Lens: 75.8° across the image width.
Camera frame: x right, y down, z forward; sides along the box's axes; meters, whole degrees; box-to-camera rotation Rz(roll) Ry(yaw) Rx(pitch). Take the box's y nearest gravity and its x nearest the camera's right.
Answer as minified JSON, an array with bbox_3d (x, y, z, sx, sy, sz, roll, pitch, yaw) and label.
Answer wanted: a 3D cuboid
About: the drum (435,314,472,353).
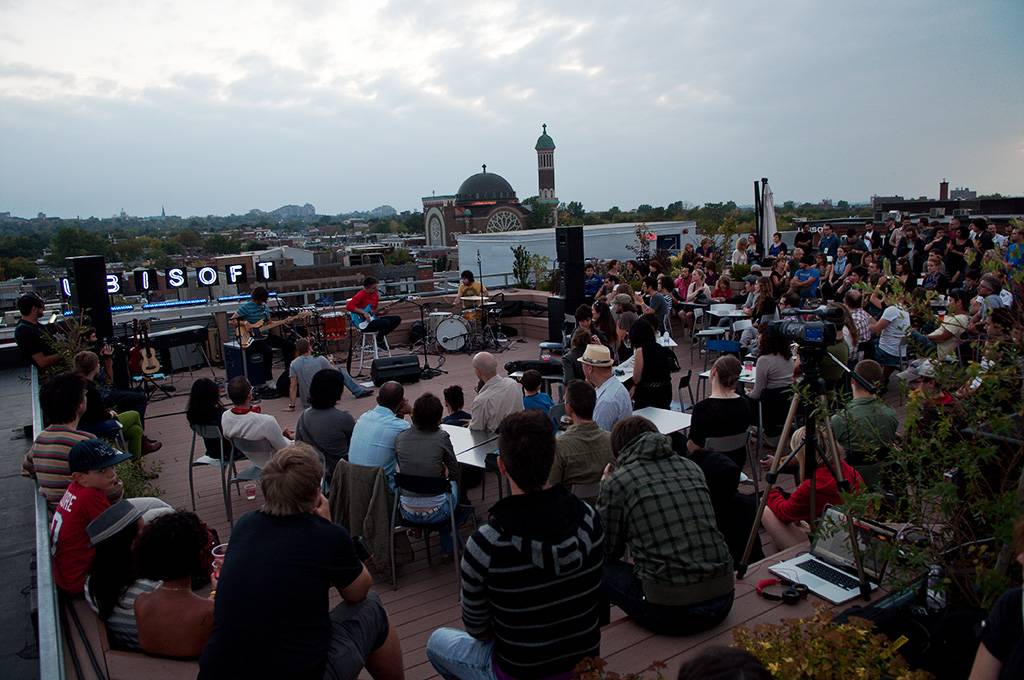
[{"bbox_3d":[-1.201,-0.146,13.543,0.642,0.633,0.247,16,12,-8],"label":"drum"}]

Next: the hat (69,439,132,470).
[{"bbox_3d":[-2.828,0.781,4.492,0.302,0.162,0.218,-1,11,-21],"label":"hat"}]

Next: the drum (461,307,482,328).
[{"bbox_3d":[-0.825,-0.472,13.938,0.422,0.415,0.438,-9,0,31],"label":"drum"}]

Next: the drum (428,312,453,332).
[{"bbox_3d":[-1.579,-0.409,13.962,0.476,0.435,0.479,0,4,10],"label":"drum"}]

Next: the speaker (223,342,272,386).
[{"bbox_3d":[-4.576,0.338,11.744,1.007,0.999,0.730,-2,1,-18],"label":"speaker"}]

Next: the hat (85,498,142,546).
[{"bbox_3d":[-2.508,1.130,4.112,0.286,0.108,0.252,-28,-3,-13],"label":"hat"}]

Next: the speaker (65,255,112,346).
[{"bbox_3d":[-6.554,-0.721,10.221,0.648,1.687,0.587,-13,23,-39],"label":"speaker"}]

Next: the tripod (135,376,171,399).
[{"bbox_3d":[-6.470,0.851,11.917,0.528,0.147,0.541,4,5,27],"label":"tripod"}]
